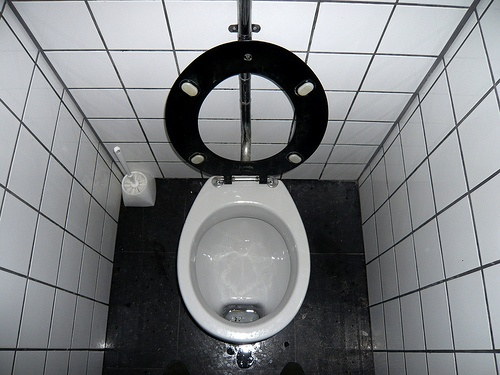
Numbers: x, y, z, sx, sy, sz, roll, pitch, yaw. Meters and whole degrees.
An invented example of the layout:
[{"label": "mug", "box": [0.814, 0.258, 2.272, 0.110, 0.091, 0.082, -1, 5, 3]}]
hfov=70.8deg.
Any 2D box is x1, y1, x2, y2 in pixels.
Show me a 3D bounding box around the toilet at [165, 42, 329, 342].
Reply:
[{"label": "toilet", "box": [-0.008, 0.160, 1.297, 0.508, 1.094, 0.739, 0, 53, -2]}]
